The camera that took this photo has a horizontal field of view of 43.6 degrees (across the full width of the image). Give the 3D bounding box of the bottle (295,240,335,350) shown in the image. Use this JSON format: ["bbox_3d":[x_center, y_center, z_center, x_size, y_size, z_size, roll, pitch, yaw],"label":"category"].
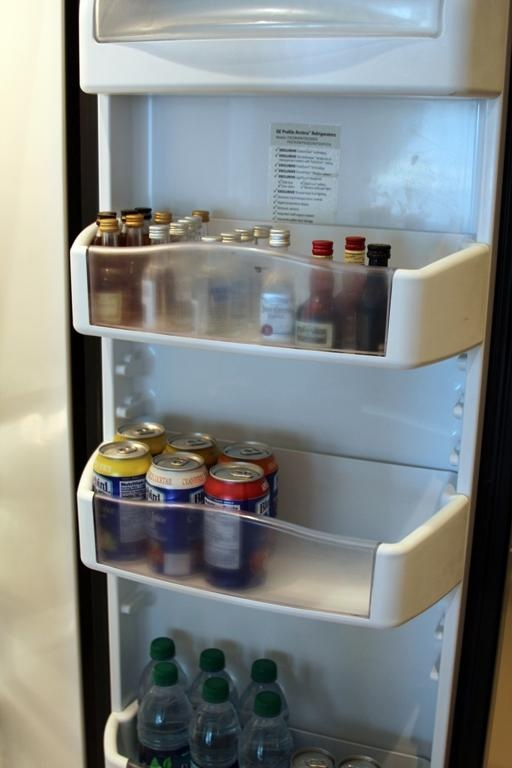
[{"bbox_3d":[0.065,-0.087,0.707,0.048,0.096,0.021,5,17,16],"label":"bottle"}]

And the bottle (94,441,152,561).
[{"bbox_3d":[-0.186,0.164,0.891,0.078,0.145,0.084,0,17,0],"label":"bottle"}]

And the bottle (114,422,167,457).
[{"bbox_3d":[-0.173,0.073,0.986,0.051,0.035,0.052,4,17,-1],"label":"bottle"}]

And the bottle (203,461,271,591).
[{"bbox_3d":[-0.027,0.180,0.834,0.082,0.137,0.097,0,17,1],"label":"bottle"}]

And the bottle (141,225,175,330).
[{"bbox_3d":[-0.121,-0.117,0.785,0.045,0.104,0.010,6,17,18],"label":"bottle"}]

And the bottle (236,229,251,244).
[{"bbox_3d":[-0.016,-0.196,0.847,0.021,0.023,0.023,0,13,-1],"label":"bottle"}]

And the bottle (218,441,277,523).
[{"bbox_3d":[0.000,0.125,0.907,0.085,0.109,0.089,0,11,0],"label":"bottle"}]

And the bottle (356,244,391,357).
[{"bbox_3d":[0.118,-0.088,0.695,0.037,0.129,0.032,18,45,17],"label":"bottle"}]

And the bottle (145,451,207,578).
[{"bbox_3d":[-0.106,0.171,0.866,0.081,0.142,0.096,4,17,11],"label":"bottle"}]

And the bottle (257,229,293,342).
[{"bbox_3d":[0.021,-0.091,0.730,0.046,0.090,0.012,12,20,35],"label":"bottle"}]
